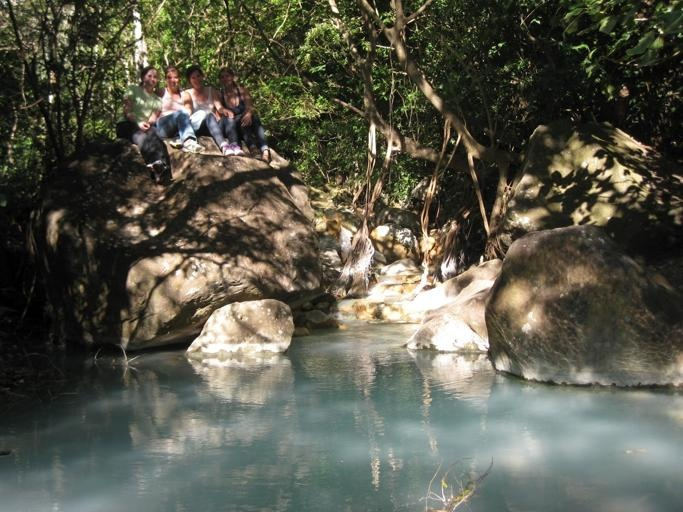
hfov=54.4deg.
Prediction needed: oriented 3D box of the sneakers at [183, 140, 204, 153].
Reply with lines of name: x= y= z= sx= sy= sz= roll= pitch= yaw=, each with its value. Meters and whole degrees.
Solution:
sneakers: x=-2.657 y=-1.965 z=11.809 sx=0.344 sy=0.182 sz=0.162 roll=4 pitch=-37 yaw=10

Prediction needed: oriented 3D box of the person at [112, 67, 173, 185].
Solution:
person: x=-3.493 y=-2.313 z=11.730 sx=0.785 sy=2.095 sz=1.078 roll=-5 pitch=9 yaw=-29

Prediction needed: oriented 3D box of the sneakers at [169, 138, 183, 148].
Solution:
sneakers: x=-2.989 y=-2.026 z=11.938 sx=0.152 sy=0.132 sz=0.336 roll=-19 pitch=24 yaw=-28
